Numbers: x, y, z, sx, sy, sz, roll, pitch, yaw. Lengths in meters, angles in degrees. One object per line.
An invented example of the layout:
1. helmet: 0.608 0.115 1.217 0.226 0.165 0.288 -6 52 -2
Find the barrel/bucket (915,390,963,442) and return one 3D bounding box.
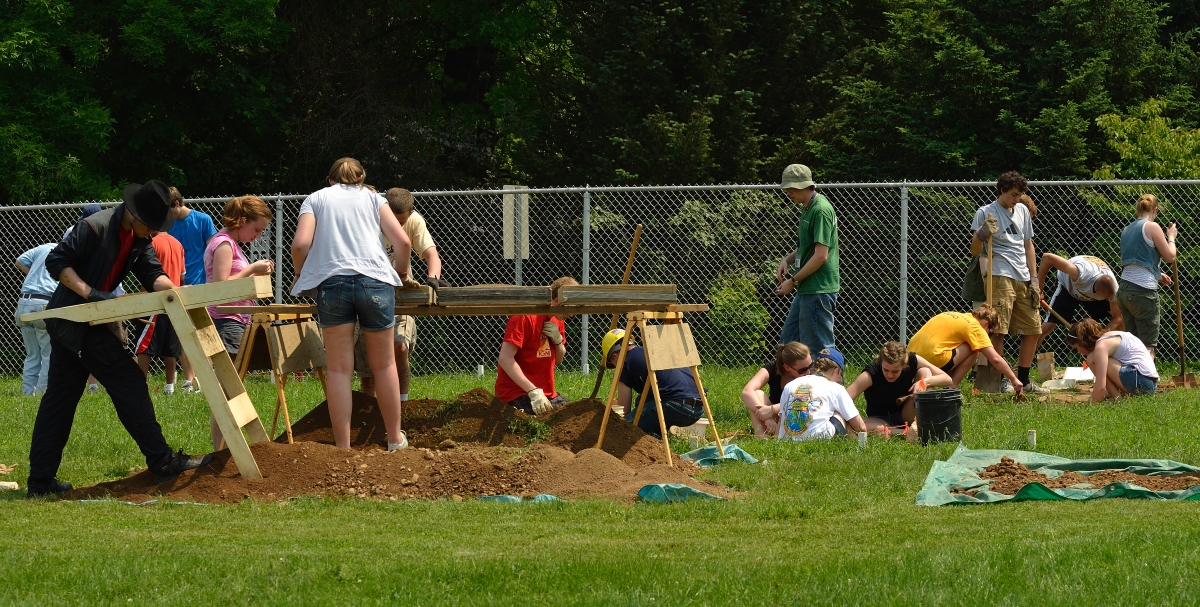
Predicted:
1. barrel/bucket: 5.286 1.777 25.393 0.892 0.692 0.806 -1 -1 -16

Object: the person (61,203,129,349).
1. person: -7.491 -0.392 24.205 1.270 2.105 0.500 -2 2 -15

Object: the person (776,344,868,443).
1. person: 3.521 1.470 25.864 1.611 1.002 1.329 7 13 35

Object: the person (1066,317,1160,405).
1. person: 8.517 0.958 27.131 1.374 1.334 0.549 -1 2 12

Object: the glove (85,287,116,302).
1. glove: -7.317 -0.100 24.106 0.423 0.157 0.255 -2 2 -21

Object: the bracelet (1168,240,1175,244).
1. bracelet: 9.835 -1.030 28.123 0.086 0.065 0.077 0 -1 6

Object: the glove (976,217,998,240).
1. glove: 6.585 -1.247 27.586 0.354 0.356 0.187 -2 2 -20

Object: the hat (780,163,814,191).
1. hat: 3.303 -2.045 26.808 0.559 0.272 0.467 -3 6 -16

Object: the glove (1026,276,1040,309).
1. glove: 7.423 -0.158 27.841 0.187 0.433 0.365 -8 -14 24

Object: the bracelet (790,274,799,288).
1. bracelet: 3.214 -0.336 26.808 0.112 0.141 0.160 -3 1 1

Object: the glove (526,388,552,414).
1. glove: -0.932 1.550 25.354 0.351 0.385 0.117 -14 18 -17

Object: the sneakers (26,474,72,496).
1. sneakers: -8.091 2.743 24.340 0.770 0.264 0.255 -1 2 -11
